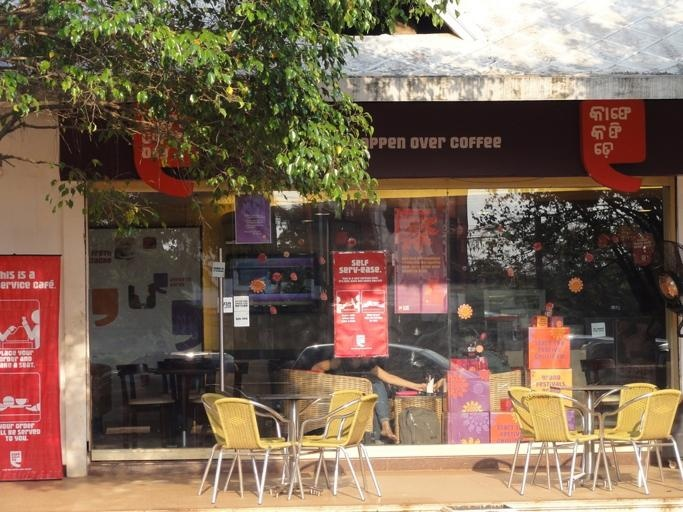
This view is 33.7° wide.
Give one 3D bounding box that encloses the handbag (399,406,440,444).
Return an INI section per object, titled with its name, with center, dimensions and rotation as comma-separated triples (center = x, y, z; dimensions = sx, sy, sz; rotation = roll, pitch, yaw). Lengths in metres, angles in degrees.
[handbag]
center = 0.920, 2.130, 14.119
dimensions = 0.373, 0.543, 0.518
rotation = 3, -33, -8

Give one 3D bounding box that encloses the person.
[person]
center = 0.349, 1.618, 14.051
dimensions = 0.831, 1.318, 0.463
rotation = 2, -17, -32
